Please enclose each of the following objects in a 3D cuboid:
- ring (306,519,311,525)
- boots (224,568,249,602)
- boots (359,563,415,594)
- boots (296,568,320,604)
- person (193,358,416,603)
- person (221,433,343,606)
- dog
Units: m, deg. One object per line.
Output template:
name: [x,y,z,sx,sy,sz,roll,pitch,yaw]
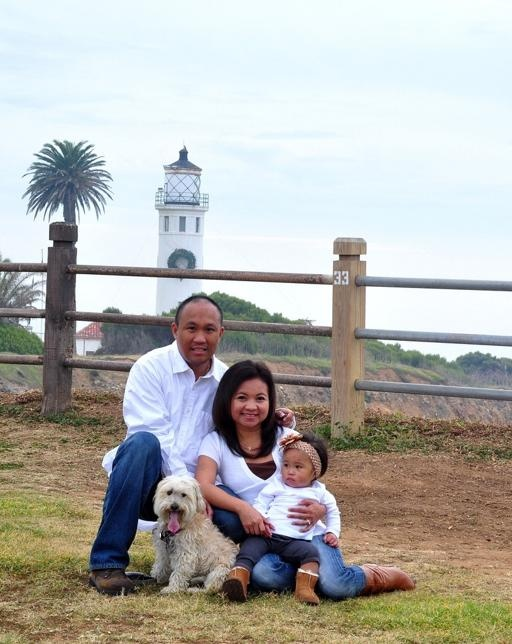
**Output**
ring: [0.224,0.842,5.512,0.004,0.019,0.018,2,30,25]
boots: [-0.073,1.063,5.348,0.056,0.184,0.118,0,18,13]
boots: [0.577,1.109,5.691,0.332,0.131,0.092,-2,5,-38]
boots: [0.213,1.084,5.417,0.094,0.134,0.212,1,4,2]
person: [0.133,0.642,5.602,0.706,1.091,0.816,1,-7,-42]
person: [0.224,0.864,5.652,0.437,0.873,0.657,6,-16,13]
dog: [-0.257,0.882,5.508,0.369,0.499,0.317,1,4,-3]
